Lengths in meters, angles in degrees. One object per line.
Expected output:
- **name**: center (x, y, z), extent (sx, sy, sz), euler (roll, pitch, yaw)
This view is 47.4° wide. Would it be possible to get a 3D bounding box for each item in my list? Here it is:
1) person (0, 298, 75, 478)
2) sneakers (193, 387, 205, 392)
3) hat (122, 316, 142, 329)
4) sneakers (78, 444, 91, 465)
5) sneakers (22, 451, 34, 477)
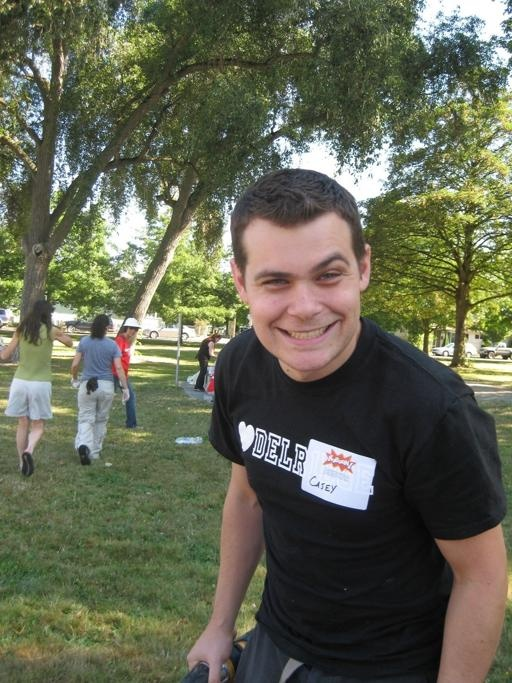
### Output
- **person**: center (-2.636, 0.538, 6.979), extent (0.739, 2.069, 0.791), euler (-4, 5, -10)
- **sneakers**: center (-1.828, 1.472, 18.264), extent (0.142, 0.259, 0.388), euler (4, -7, -43)
- **hat**: center (-2.390, -0.419, 11.190), extent (0.323, 0.218, 0.417), euler (4, -8, -14)
- **sneakers**: center (-2.297, 1.521, 7.814), extent (0.124, 0.361, 0.153), euler (-5, -9, -3)
- **sneakers**: center (-2.722, 1.449, 6.908), extent (0.127, 0.312, 0.135), euler (-3, 0, 9)
